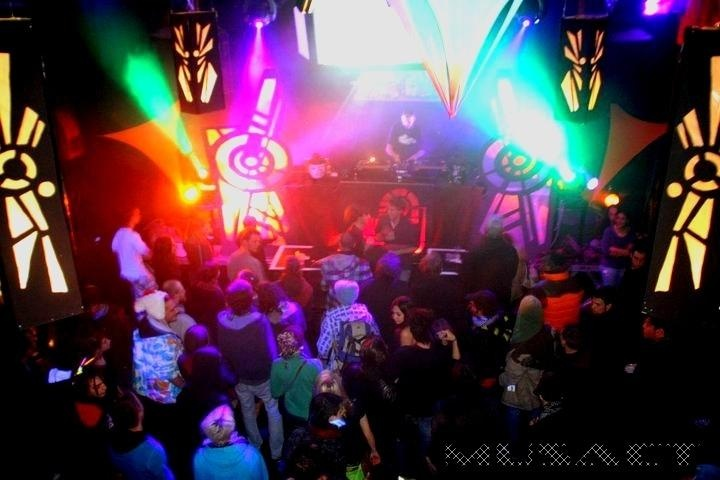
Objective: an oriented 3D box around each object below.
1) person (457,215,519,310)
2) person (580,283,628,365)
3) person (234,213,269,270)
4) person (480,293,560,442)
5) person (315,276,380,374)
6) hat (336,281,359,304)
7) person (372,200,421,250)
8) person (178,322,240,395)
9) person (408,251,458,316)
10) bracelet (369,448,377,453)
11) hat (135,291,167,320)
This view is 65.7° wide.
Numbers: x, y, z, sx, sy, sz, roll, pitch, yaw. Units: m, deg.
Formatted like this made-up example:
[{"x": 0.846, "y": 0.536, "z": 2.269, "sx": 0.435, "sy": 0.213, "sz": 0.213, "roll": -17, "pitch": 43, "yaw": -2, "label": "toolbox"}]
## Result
[{"x": 2.060, "y": 0.340, "z": 8.389, "sx": 0.791, "sy": 1.368, "sz": 0.496, "roll": 26, "pitch": 12, "yaw": 21, "label": "person"}, {"x": 3.099, "y": 1.146, "z": 7.444, "sx": 0.696, "sy": 0.989, "sz": 0.239, "roll": -9, "pitch": -2, "yaw": -33, "label": "person"}, {"x": -1.787, "y": 0.048, "z": 9.366, "sx": 0.462, "sy": 1.309, "sz": 0.456, "roll": -12, "pitch": 30, "yaw": -27, "label": "person"}, {"x": 2.129, "y": 1.665, "z": 7.142, "sx": 0.652, "sy": 1.927, "sz": 0.342, "roll": 0, "pitch": -6, "yaw": 19, "label": "person"}, {"x": -0.122, "y": 1.129, "z": 7.313, "sx": 1.108, "sy": 1.414, "sz": 0.729, "roll": -1, "pitch": 9, "yaw": -9, "label": "person"}, {"x": -0.171, "y": 0.704, "z": 7.326, "sx": 0.286, "sy": 0.311, "sz": 0.466, "roll": 0, "pitch": -21, "yaw": -3, "label": "hat"}, {"x": 0.665, "y": -0.232, "z": 9.892, "sx": 0.822, "sy": 0.957, "sz": 0.902, "roll": 1, "pitch": -6, "yaw": 5, "label": "person"}, {"x": -1.901, "y": 1.520, "z": 7.029, "sx": 0.658, "sy": 0.837, "sz": 0.399, "roll": 4, "pitch": -6, "yaw": -18, "label": "person"}, {"x": 1.133, "y": 0.722, "z": 8.672, "sx": 0.733, "sy": 1.010, "sz": 0.519, "roll": -6, "pitch": 35, "yaw": -2, "label": "person"}, {"x": 0.183, "y": 2.615, "z": 6.877, "sx": 0.059, "sy": 0.044, "sz": 0.019, "roll": 8, "pitch": -1, "yaw": -9, "label": "bracelet"}, {"x": -2.639, "y": 0.824, "z": 7.107, "sx": 0.392, "sy": 0.346, "sz": 0.289, "roll": -3, "pitch": 15, "yaw": -12, "label": "hat"}]
